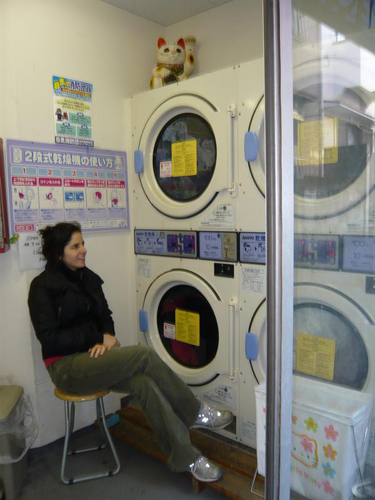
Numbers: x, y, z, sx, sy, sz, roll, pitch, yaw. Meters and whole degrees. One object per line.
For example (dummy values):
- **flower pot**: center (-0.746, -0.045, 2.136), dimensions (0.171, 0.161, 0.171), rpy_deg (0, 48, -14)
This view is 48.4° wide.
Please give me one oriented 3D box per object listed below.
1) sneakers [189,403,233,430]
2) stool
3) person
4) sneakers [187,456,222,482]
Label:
- **sneakers**: center (0.114, 0.752, 1.872), dimensions (0.218, 0.095, 0.086), rpy_deg (-1, 38, -1)
- **stool**: center (-0.464, 0.813, 1.910), dimensions (0.255, 0.389, 0.251), rpy_deg (-7, 5, -29)
- **person**: center (-0.091, 0.449, 2.264), dimensions (1.232, 1.644, 0.654), rpy_deg (-5, 0, 15)
- **sneakers**: center (0.063, 0.893, 1.712), dimensions (0.144, 0.119, 0.091), rpy_deg (0, 5, 13)
